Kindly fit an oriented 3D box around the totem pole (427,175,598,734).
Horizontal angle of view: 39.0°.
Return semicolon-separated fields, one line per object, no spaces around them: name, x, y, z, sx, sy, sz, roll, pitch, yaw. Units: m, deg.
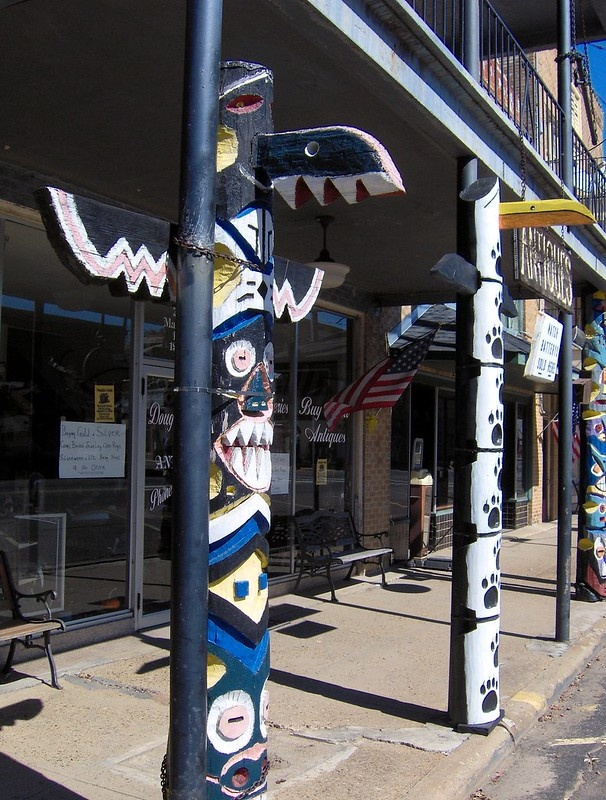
totem pole;1.051;0.273;5.142;0.974;2.460;0.447;4;-1;-34

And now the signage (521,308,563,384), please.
signage;1.655;-0.369;5.871;0.114;0.443;0.474;9;-1;34

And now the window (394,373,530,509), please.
window;1.730;0.462;9.982;0.056;1.482;2.568;-2;-4;32
